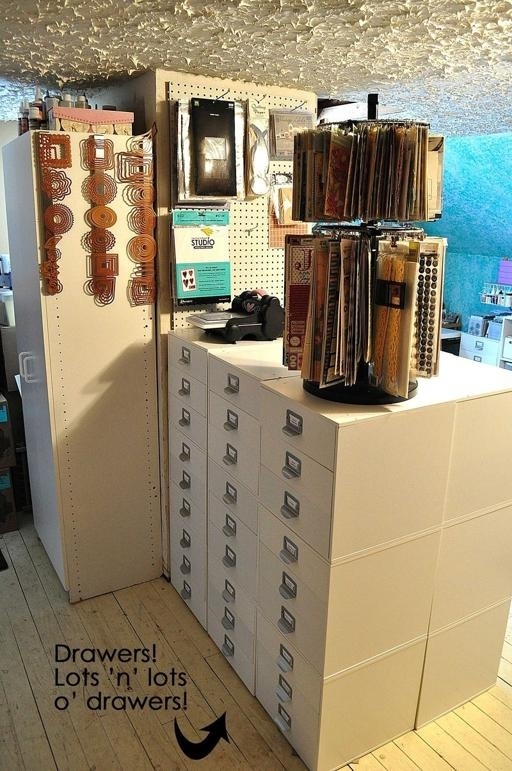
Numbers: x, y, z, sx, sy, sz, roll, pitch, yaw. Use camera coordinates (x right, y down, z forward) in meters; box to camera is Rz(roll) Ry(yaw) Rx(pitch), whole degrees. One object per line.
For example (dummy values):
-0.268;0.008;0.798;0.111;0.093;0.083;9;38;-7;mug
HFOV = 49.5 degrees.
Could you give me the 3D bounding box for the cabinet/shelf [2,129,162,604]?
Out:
-0.741;-0.003;2.407;0.643;1.995;0.462;-1;12;-6;cabinet/shelf
